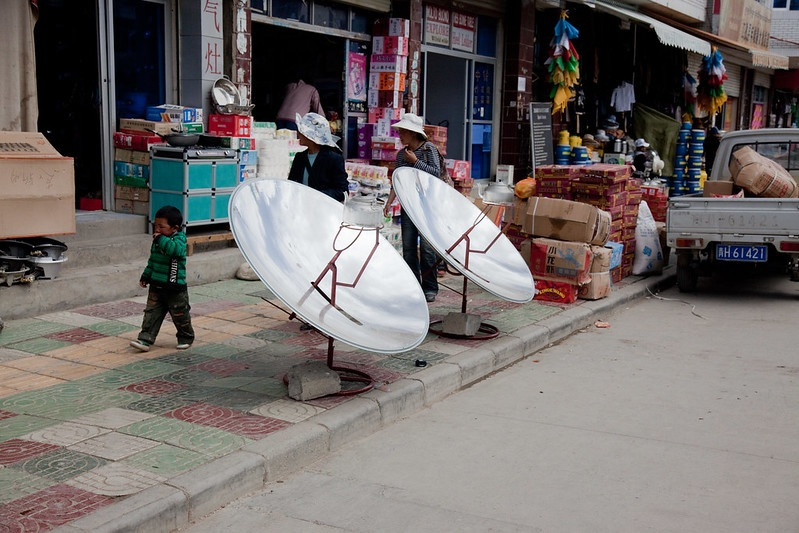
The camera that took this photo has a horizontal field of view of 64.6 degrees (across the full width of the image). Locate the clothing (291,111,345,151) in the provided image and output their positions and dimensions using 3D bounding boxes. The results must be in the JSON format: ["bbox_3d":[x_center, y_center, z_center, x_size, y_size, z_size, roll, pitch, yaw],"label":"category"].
[{"bbox_3d":[-0.933,-1.447,6.984,0.466,0.156,0.401,12,39,-35],"label":"clothing"}]

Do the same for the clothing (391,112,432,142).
[{"bbox_3d":[0.152,-1.802,8.155,0.395,0.332,0.494,1,12,6],"label":"clothing"}]

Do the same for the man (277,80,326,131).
[{"bbox_3d":[-1.908,-3.074,11.886,1.020,0.721,0.540,5,7,6],"label":"man"}]

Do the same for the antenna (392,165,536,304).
[{"bbox_3d":[0.675,-0.335,7.093,1.676,0.691,1.492,31,5,-19],"label":"antenna"}]

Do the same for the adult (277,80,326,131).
[{"bbox_3d":[-1.901,-3.097,11.891,1.039,0.780,0.557,5,9,9],"label":"adult"}]
